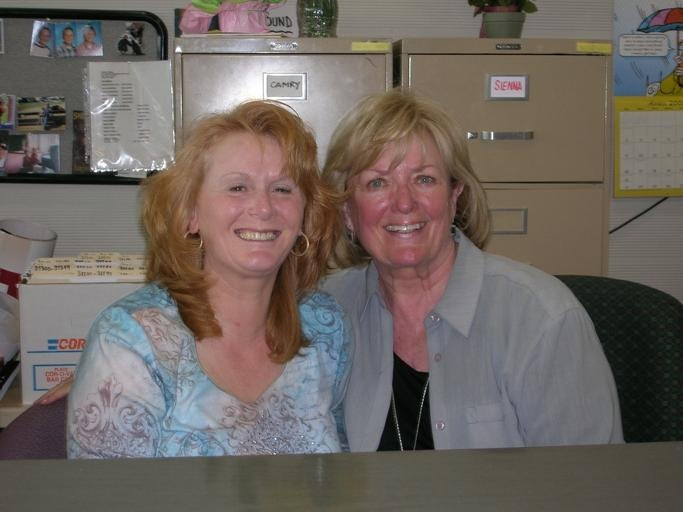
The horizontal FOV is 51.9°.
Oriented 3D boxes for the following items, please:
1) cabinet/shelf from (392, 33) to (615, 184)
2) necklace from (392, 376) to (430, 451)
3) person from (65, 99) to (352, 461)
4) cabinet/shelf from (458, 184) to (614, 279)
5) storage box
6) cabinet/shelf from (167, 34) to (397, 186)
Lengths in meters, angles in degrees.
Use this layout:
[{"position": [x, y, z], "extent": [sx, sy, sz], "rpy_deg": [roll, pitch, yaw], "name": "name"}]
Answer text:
[{"position": [0.600, -0.538, 2.825], "extent": [0.820, 0.574, 0.459], "rpy_deg": [-2, 8, -7], "name": "cabinet/shelf"}, {"position": [0.179, 0.407, 1.833], "extent": [0.095, 0.184, 0.106], "rpy_deg": [1, 8, 4], "name": "necklace"}, {"position": [-0.290, 0.073, 1.699], "extent": [0.726, 0.895, 0.441], "rpy_deg": [-3, 9, -22], "name": "person"}, {"position": [0.749, -0.120, 2.875], "extent": [0.646, 0.586, 0.338], "rpy_deg": [0, 2, -2], "name": "cabinet/shelf"}, {"position": [-0.828, 0.292, 2.182], "extent": [0.400, 0.368, 0.221], "rpy_deg": [6, -20, -38], "name": "storage box"}, {"position": [-0.154, -0.564, 2.794], "extent": [0.816, 0.563, 0.410], "rpy_deg": [3, 17, 14], "name": "cabinet/shelf"}]
